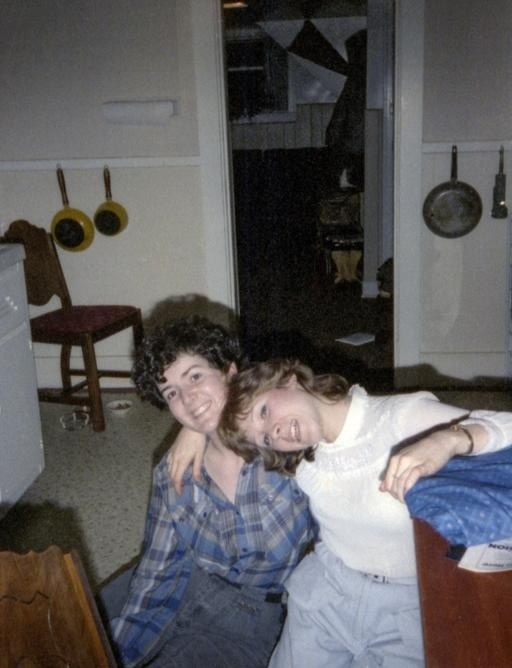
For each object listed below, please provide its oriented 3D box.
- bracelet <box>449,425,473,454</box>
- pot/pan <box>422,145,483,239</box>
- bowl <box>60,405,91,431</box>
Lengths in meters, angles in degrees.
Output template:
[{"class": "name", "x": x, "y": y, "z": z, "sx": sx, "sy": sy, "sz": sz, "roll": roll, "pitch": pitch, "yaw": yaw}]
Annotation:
[{"class": "bracelet", "x": 0.267, "y": 0.138, "z": 0.780, "sx": 0.028, "sy": 0.029, "sz": 0.009, "roll": -2, "pitch": -13, "yaw": -16}, {"class": "pot/pan", "x": 0.791, "y": -0.563, "z": 2.433, "sx": 0.232, "sy": 0.347, "sz": 0.111, "roll": 1, "pitch": 15, "yaw": 14}, {"class": "bowl", "x": -0.759, "y": 0.361, "z": 2.518, "sx": 0.096, "sy": 0.043, "sz": 0.097, "roll": -3, "pitch": 32, "yaw": 2}]
